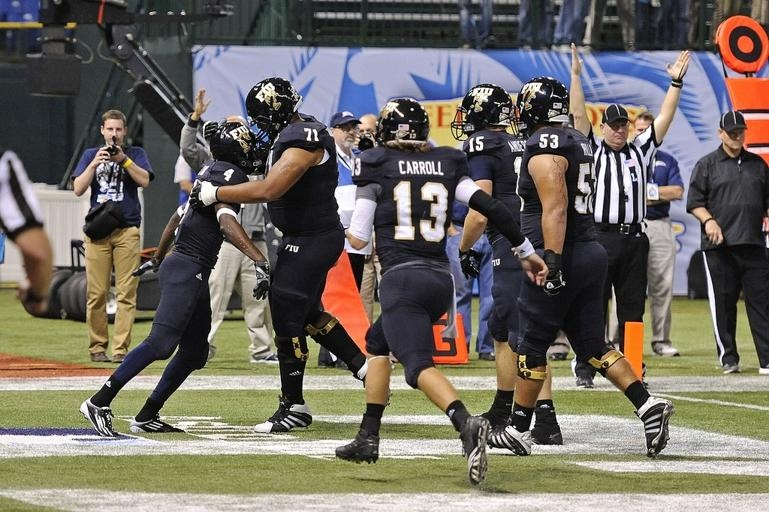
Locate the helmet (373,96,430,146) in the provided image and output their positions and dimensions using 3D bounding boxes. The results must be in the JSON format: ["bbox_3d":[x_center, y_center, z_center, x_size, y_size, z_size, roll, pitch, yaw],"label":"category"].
[{"bbox_3d":[0.139,-1.156,12.227,0.573,0.483,0.428,-3,-5,40],"label":"helmet"}]

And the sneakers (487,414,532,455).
[{"bbox_3d":[1.091,1.622,12.436,0.537,0.275,0.182,7,0,45],"label":"sneakers"}]

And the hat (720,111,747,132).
[{"bbox_3d":[4.109,-1.604,16.486,0.305,0.247,0.229,2,3,22],"label":"hat"}]

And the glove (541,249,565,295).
[{"bbox_3d":[1.468,0.157,12.090,0.241,0.333,0.143,7,1,5],"label":"glove"}]

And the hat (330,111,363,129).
[{"bbox_3d":[-0.515,-1.666,16.769,0.220,0.138,0.304,-1,-2,-40],"label":"hat"}]

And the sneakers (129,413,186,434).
[{"bbox_3d":[-2.104,1.587,13.022,0.569,0.220,0.185,3,-3,-11],"label":"sneakers"}]

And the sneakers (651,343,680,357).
[{"bbox_3d":[3.653,1.234,18.140,0.155,0.162,0.384,3,-6,-38],"label":"sneakers"}]

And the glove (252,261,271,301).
[{"bbox_3d":[-1.133,0.234,12.886,0.143,0.369,0.439,1,3,-5],"label":"glove"}]

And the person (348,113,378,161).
[{"bbox_3d":[-0.243,-1.615,17.789,0.475,0.425,0.849,2,39,-7],"label":"person"}]

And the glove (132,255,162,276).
[{"bbox_3d":[-2.585,0.106,15.066,0.429,0.101,0.224,-27,-15,36],"label":"glove"}]

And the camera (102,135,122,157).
[{"bbox_3d":[-3.213,-1.300,16.416,0.173,0.237,0.100,0,-3,-8],"label":"camera"}]

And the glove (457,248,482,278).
[{"bbox_3d":[0.793,0.082,13.078,0.163,0.288,0.199,0,8,9],"label":"glove"}]

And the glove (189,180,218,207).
[{"bbox_3d":[-1.670,-0.575,12.902,0.130,0.243,0.372,-1,3,-36],"label":"glove"}]

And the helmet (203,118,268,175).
[{"bbox_3d":[-1.428,-1.082,13.348,0.654,0.503,0.493,-3,13,0],"label":"helmet"}]

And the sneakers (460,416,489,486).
[{"bbox_3d":[0.736,1.564,11.297,0.285,0.574,0.198,-2,12,13],"label":"sneakers"}]

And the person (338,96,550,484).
[{"bbox_3d":[0.366,0.239,11.680,1.463,3.154,0.983,2,3,11],"label":"person"}]

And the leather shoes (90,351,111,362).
[{"bbox_3d":[-3.446,1.251,16.891,0.092,0.110,0.262,10,-14,-43],"label":"leather shoes"}]

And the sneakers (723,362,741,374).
[{"bbox_3d":[4.116,1.367,16.536,0.092,0.101,0.224,1,-10,-15],"label":"sneakers"}]
